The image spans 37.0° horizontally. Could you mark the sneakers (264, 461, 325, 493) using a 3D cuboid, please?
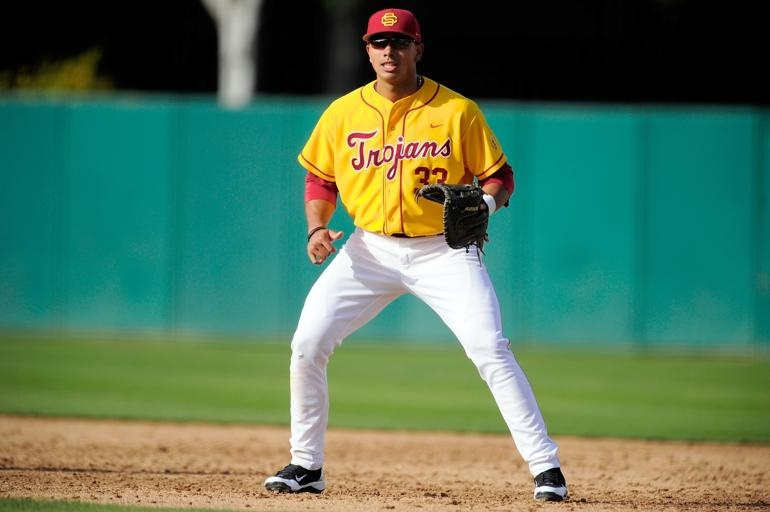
[{"bbox_3d":[-0.732,1.780,9.227,0.501,0.248,0.194,3,-6,-11],"label":"sneakers"}]

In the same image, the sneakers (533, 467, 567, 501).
[{"bbox_3d":[1.332,1.773,8.989,0.304,0.268,0.143,1,1,-23],"label":"sneakers"}]
